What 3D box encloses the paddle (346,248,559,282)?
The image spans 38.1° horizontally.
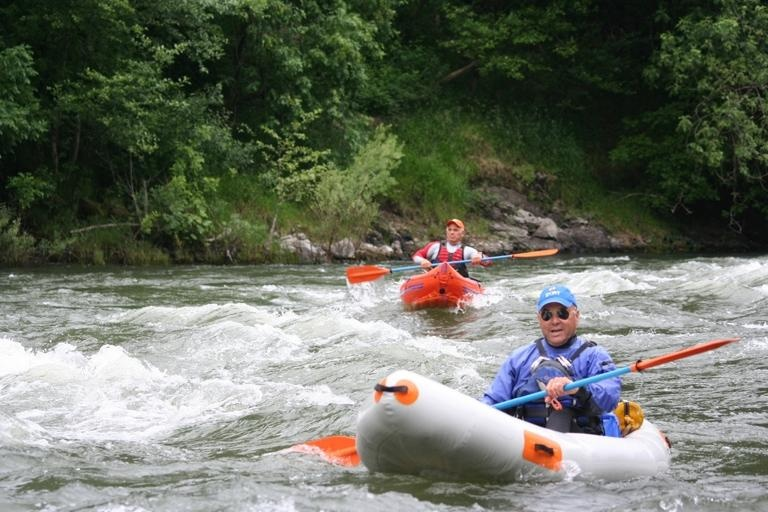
[{"bbox_3d":[1.688,0.290,27.680,4.275,0.425,0.578,-5,12,17],"label":"paddle"}]
